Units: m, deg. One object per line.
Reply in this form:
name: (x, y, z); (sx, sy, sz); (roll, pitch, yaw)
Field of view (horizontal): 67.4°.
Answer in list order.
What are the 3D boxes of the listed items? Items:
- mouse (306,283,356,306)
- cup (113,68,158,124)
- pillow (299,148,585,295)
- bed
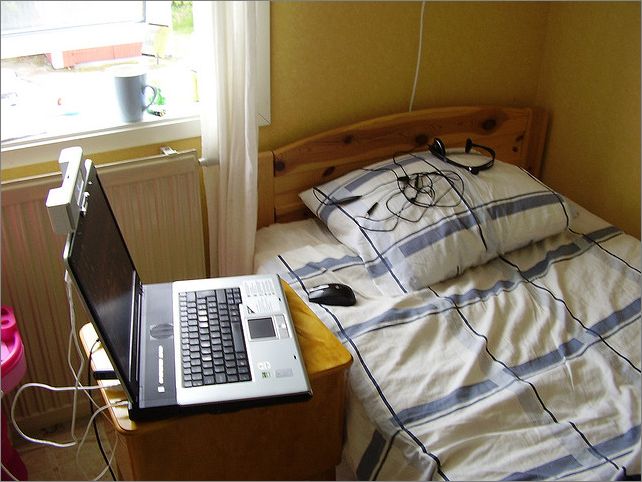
mouse: (0.042, 0.173, 1.545); (0.125, 0.046, 0.074); (3, 36, -2)
cup: (-0.638, -0.526, 1.759); (0.173, 0.188, 0.131); (2, 39, -7)
pillow: (0.441, -0.149, 1.919); (0.901, 0.279, 0.647); (-14, 32, -22)
bed: (0.508, 0.101, 2.430); (1.423, 1.236, 1.027); (-26, 49, -17)
